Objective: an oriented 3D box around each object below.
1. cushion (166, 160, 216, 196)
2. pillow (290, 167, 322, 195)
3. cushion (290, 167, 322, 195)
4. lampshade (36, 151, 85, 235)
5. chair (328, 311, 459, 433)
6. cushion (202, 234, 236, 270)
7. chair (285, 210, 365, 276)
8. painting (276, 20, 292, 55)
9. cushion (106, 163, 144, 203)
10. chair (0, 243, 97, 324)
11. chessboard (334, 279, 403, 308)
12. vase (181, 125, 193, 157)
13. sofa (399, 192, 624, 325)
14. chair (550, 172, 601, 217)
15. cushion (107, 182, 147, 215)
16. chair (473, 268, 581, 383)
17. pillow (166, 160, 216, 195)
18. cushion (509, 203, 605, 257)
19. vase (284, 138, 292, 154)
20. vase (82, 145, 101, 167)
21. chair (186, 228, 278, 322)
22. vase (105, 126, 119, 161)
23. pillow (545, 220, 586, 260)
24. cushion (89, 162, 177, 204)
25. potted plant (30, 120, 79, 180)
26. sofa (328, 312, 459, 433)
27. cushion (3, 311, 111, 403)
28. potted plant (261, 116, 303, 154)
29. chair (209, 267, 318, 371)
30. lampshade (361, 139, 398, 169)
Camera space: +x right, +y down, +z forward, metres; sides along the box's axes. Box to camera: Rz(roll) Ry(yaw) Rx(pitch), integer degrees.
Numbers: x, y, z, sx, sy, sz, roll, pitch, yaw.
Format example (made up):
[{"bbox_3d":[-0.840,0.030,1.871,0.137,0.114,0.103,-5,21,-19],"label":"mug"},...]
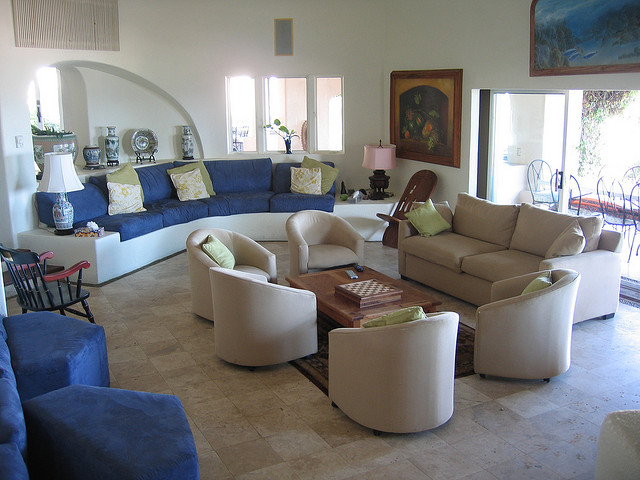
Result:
[{"bbox_3d":[-2.181,-1.014,8.484,0.193,0.634,0.652,-23,-2,39],"label":"cushion"},{"bbox_3d":[-0.230,-1.017,8.425,0.467,0.446,0.186,1,-3,10],"label":"pillow"},{"bbox_3d":[-0.230,-1.016,8.425,0.469,0.448,0.187,2,-4,9],"label":"cushion"},{"bbox_3d":[-3.401,-0.592,6.374,0.525,1.082,0.378,-10,18,-29],"label":"lampshade"},{"bbox_3d":[0.634,0.981,3.983,0.902,0.952,0.985,8,12,39],"label":"chair"},{"bbox_3d":[-1.095,0.153,5.212,0.303,0.345,0.311,-4,16,-10],"label":"cushion"},{"bbox_3d":[0.045,0.058,6.232,0.906,0.996,0.842,-6,14,-23],"label":"chair"},{"bbox_3d":[-0.646,-3.608,8.597,0.320,0.620,0.031,-4,35,-7],"label":"painting"},{"bbox_3d":[-3.010,-0.915,7.494,0.165,0.544,0.559,-19,-8,39],"label":"cushion"},{"bbox_3d":[-2.840,0.483,5.110,0.537,0.855,0.595,18,24,29],"label":"chair"},{"bbox_3d":[0.568,0.493,4.887,0.590,0.090,0.559,33,-30,-26],"label":"chessboard"},{"bbox_3d":[-2.468,-1.833,8.984,0.222,0.565,0.340,-6,16,-15],"label":"vase"},{"bbox_3d":[2.137,0.219,5.954,1.162,1.317,2.574,-4,14,-25],"label":"sofa"},{"bbox_3d":[3.384,-0.618,6.408,0.429,0.777,0.389,-10,20,-12],"label":"chair"},{"bbox_3d":[-2.983,-0.653,7.386,0.507,0.454,0.315,-9,17,-26],"label":"cushion"},{"bbox_3d":[1.907,0.730,4.438,0.765,0.924,0.821,-1,12,29],"label":"chair"},{"bbox_3d":[-2.202,-0.987,8.505,0.189,0.623,0.641,-23,-3,41],"label":"pillow"},{"bbox_3d":[2.631,-0.048,5.668,0.365,0.653,1.071,23,7,-16],"label":"cushion"},{"bbox_3d":[-0.590,-1.748,9.022,0.126,0.288,0.141,-6,16,-16],"label":"vase"},{"bbox_3d":[-3.750,-1.365,7.936,0.310,0.385,0.319,6,7,33],"label":"vase"},{"bbox_3d":[-0.919,0.424,5.464,0.862,0.910,0.938,8,22,-7],"label":"chair"},{"bbox_3d":[-3.561,-1.632,8.269,0.214,0.556,0.275,-9,17,-24],"label":"vase"},{"bbox_3d":[2.552,0.047,5.007,0.388,0.276,0.239,-10,18,-30],"label":"pillow"},{"bbox_3d":[-3.007,-0.887,7.717,0.253,0.552,0.952,-21,-3,37],"label":"cushion"},{"bbox_3d":[-4.091,-1.372,7.490,0.668,0.839,0.699,14,20,41],"label":"potted plant"},{"bbox_3d":[0.653,0.918,3.993,0.947,0.891,1.032,8,14,35],"label":"sofa"},{"bbox_3d":[-1.942,0.778,3.466,0.579,0.464,0.607,12,15,16],"label":"cushion"},{"bbox_3d":[-0.650,-1.869,8.996,0.544,0.514,0.461,-12,22,-37],"label":"potted plant"},{"bbox_3d":[-0.603,0.611,4.742,0.904,1.014,0.893,-5,18,-18],"label":"chair"},{"bbox_3d":[1.038,-1.441,8.271,0.504,0.526,0.514,13,22,38],"label":"lampshade"}]
